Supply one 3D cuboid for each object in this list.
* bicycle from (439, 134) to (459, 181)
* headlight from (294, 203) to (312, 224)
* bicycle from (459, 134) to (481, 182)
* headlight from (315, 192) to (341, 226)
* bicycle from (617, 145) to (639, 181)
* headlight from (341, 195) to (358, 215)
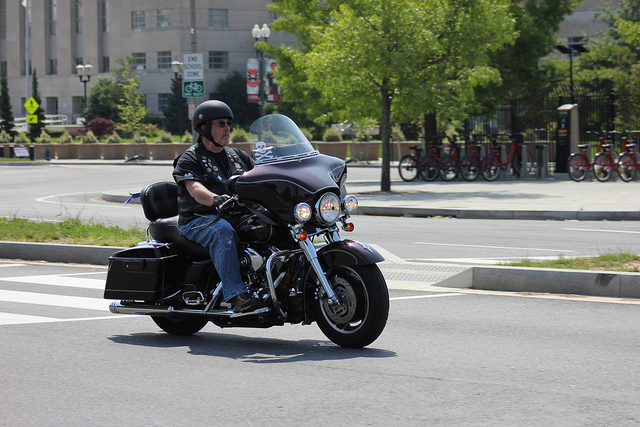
[{"bbox_3d":[4.646,-1.982,30.179,0.706,1.526,1.005,-2,9,8],"label":"bicycle"},{"bbox_3d":[-0.194,-0.016,8.707,0.277,0.222,0.096,4,-3,-19],"label":"headlight"},{"bbox_3d":[5.439,-2.016,30.035,0.669,1.610,1.216,1,10,25],"label":"bicycle"},{"bbox_3d":[0.063,-0.063,8.735,0.407,0.357,0.159,4,-11,-35],"label":"headlight"},{"bbox_3d":[10.031,-1.653,27.190,0.659,1.115,0.797,-1,9,11],"label":"bicycle"},{"bbox_3d":[0.310,-0.100,8.951,0.162,0.194,0.280,-1,8,10],"label":"headlight"}]
